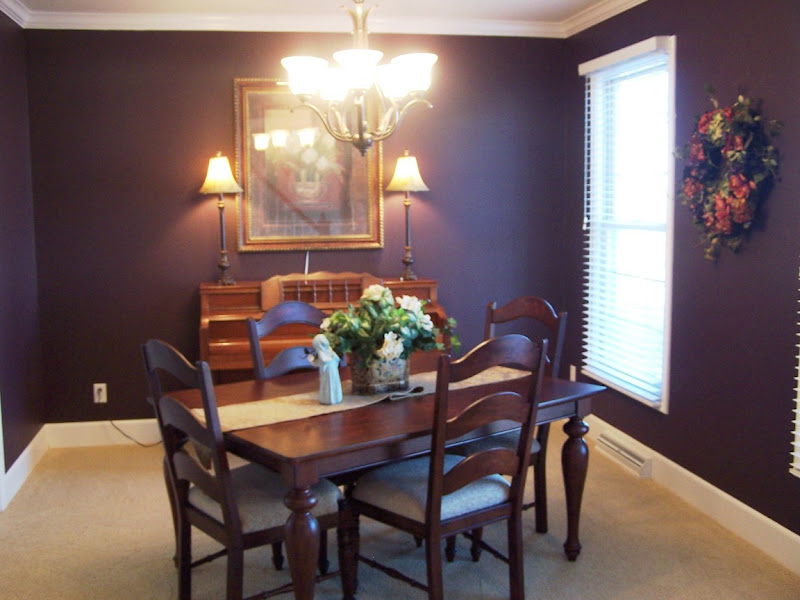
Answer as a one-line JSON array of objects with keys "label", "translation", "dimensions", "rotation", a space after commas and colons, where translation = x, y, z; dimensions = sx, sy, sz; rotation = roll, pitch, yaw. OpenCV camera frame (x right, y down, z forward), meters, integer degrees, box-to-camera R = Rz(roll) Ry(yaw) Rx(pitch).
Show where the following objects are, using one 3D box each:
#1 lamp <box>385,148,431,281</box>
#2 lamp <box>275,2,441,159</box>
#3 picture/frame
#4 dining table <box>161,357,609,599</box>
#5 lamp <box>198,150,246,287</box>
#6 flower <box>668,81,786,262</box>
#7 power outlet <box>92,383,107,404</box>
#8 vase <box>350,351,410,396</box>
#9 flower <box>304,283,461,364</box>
[{"label": "lamp", "translation": [0.058, -0.674, 5.240], "dimensions": [0.335, 0.986, 0.361], "rotation": [0, 11, 0]}, {"label": "lamp", "translation": [-0.174, -1.253, 3.849], "dimensions": [0.735, 0.818, 1.542], "rotation": [0, 11, 2]}, {"label": "picture/frame", "translation": [-0.721, -0.995, 4.827], "dimensions": [1.171, 1.373, 0.094], "rotation": [-1, 3, -10]}, {"label": "dining table", "translation": [-0.043, 0.870, 3.438], "dimensions": [2.174, 1.125, 1.052], "rotation": [-6, 13, -29]}, {"label": "lamp", "translation": [-1.335, -0.614, 5.027], "dimensions": [0.297, 0.974, 0.337], "rotation": [-4, 12, -17]}, {"label": "flower", "translation": [1.838, -0.694, 3.795], "dimensions": [0.205, 0.943, 0.600], "rotation": [-2, 11, -12]}, {"label": "power outlet", "translation": [-2.290, 0.701, 5.109], "dimensions": [0.144, 0.223, 0.021], "rotation": [0, 0, -25]}, {"label": "vase", "translation": [-0.099, 0.367, 3.373], "dimensions": [0.280, 0.206, 0.290], "rotation": [-2, 0, -7]}, {"label": "flower", "translation": [-0.039, 0.131, 3.255], "dimensions": [0.451, 0.309, 0.448], "rotation": [1, 0, -44]}]
